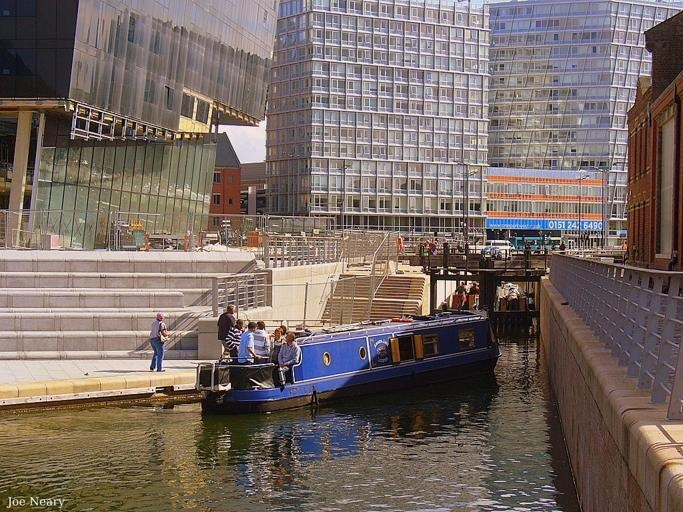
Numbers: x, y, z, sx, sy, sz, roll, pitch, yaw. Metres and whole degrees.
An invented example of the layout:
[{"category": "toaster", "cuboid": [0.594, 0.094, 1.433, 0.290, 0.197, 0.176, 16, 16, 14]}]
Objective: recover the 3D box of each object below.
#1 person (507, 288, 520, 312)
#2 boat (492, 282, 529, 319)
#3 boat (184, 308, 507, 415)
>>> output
[{"category": "person", "cuboid": [12.214, 3.188, 59.263, 0.786, 1.011, 2.974, -1, -3, 8]}, {"category": "boat", "cuboid": [12.368, 4.040, 60.845, 2.238, 3.433, 8.230, 1, 1, 7]}, {"category": "boat", "cuboid": [0.762, 3.547, 28.058, 3.079, 2.573, 12.428, -4, -2, 41]}]
